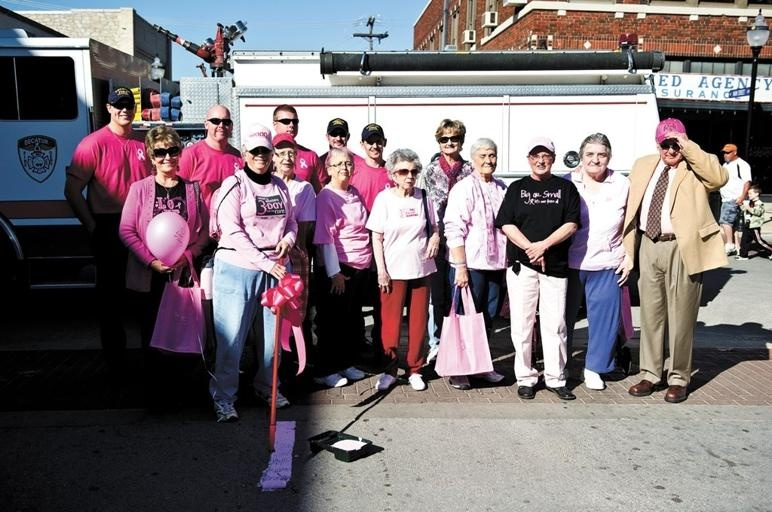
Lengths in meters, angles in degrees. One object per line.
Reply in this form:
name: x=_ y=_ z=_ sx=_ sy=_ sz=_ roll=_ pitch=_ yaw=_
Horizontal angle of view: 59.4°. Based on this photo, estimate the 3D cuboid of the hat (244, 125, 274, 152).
hat: x=-1.282 y=-1.178 z=6.737 sx=0.276 sy=0.260 sz=0.199 roll=-3 pitch=14 yaw=-16

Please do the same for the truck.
truck: x=-1.589 y=-0.914 z=11.165 sx=11.517 sy=4.380 sz=3.520 roll=0 pitch=-2 yaw=-2

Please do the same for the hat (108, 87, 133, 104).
hat: x=-2.994 y=-1.818 z=7.652 sx=0.243 sy=0.198 sz=0.407 roll=1 pitch=0 yaw=-21

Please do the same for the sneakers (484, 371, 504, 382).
sneakers: x=1.245 y=1.394 z=7.740 sx=0.198 sy=0.090 sz=0.122 roll=0 pitch=20 yaw=-6

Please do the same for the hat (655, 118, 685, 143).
hat: x=3.094 y=-1.357 z=7.346 sx=0.280 sy=0.253 sz=0.263 roll=5 pitch=14 yaw=16

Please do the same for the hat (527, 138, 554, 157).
hat: x=1.665 y=-1.168 z=7.272 sx=0.242 sy=0.199 sz=0.361 roll=0 pitch=-12 yaw=15

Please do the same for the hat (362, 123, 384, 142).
hat: x=-0.155 y=-1.458 z=7.920 sx=0.258 sy=0.214 sz=0.446 roll=-1 pitch=12 yaw=-1
